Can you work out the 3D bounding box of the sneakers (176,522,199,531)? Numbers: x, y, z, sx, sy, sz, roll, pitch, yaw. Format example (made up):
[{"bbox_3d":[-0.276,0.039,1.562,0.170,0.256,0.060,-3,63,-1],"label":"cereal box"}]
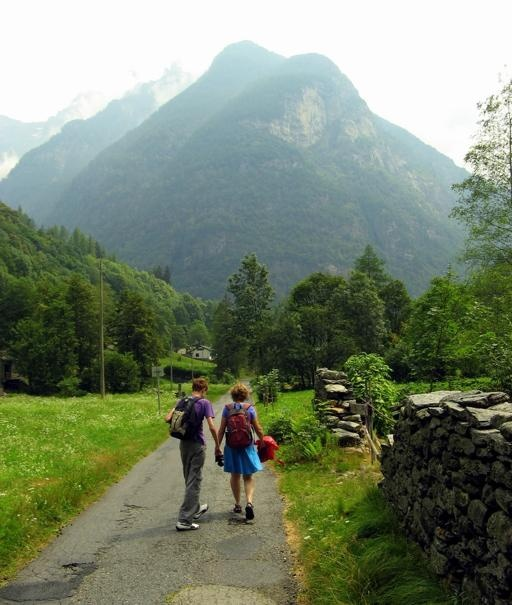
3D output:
[{"bbox_3d":[-1.114,3.687,9.263,0.374,0.156,0.132,0,-10,-4],"label":"sneakers"}]

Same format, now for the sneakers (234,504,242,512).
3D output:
[{"bbox_3d":[-0.319,3.707,10.156,0.074,0.090,0.202,4,5,-5],"label":"sneakers"}]

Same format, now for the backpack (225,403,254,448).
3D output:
[{"bbox_3d":[-0.261,2.187,9.950,0.570,0.731,0.469,-7,-2,17],"label":"backpack"}]

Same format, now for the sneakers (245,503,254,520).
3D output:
[{"bbox_3d":[-0.108,3.640,9.830,0.129,0.283,0.130,-2,4,9],"label":"sneakers"}]

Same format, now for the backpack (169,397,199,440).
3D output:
[{"bbox_3d":[-1.212,1.934,9.608,0.499,0.635,0.374,3,-8,37],"label":"backpack"}]
